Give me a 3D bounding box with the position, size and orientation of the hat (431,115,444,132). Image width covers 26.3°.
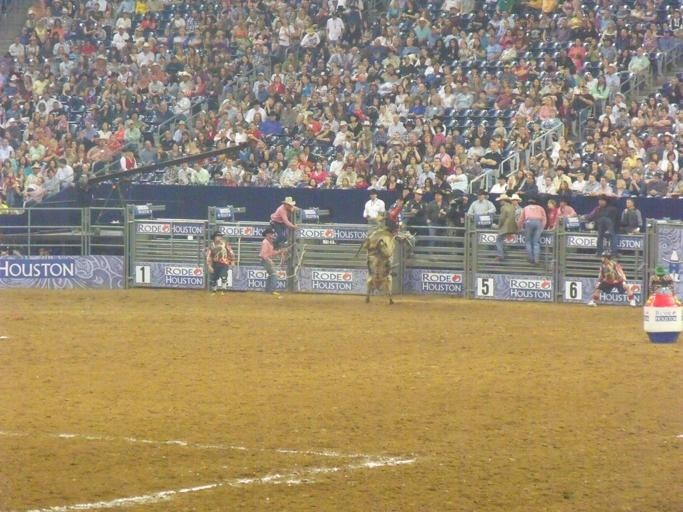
[{"bbox_3d":[3.303,-4.504,50.305,0.407,0.461,0.538,-8,1,4],"label":"hat"}]

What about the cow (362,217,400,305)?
[{"bbox_3d":[1.198,0.113,44.551,0.988,2.737,0.672,-2,-3,41],"label":"cow"}]

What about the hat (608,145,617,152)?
[{"bbox_3d":[8.746,-3.488,47.064,0.294,0.272,0.331,-1,-2,15],"label":"hat"}]

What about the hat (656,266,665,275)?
[{"bbox_3d":[8.261,0.381,37.874,0.195,0.181,0.215,2,-5,-9],"label":"hat"}]

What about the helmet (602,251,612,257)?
[{"bbox_3d":[8.026,-0.016,44.252,0.219,0.174,0.174,25,33,26],"label":"helmet"}]

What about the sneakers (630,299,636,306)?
[{"bbox_3d":[8.933,1.471,44.719,0.241,0.262,0.173,5,-5,-43],"label":"sneakers"}]

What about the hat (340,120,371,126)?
[{"bbox_3d":[0.454,-4.723,51.942,0.502,0.231,0.505,1,4,35],"label":"hat"}]

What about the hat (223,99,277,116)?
[{"bbox_3d":[-3.638,-5.516,54.454,0.889,0.430,1.130,2,-3,-23],"label":"hat"}]

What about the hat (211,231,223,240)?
[{"bbox_3d":[-3.941,-0.588,46.406,0.330,0.306,0.243,1,13,-18],"label":"hat"}]

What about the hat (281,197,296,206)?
[{"bbox_3d":[-1.740,-1.757,47.367,0.295,0.148,0.359,-7,12,-35],"label":"hat"}]

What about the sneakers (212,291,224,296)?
[{"bbox_3d":[-3.971,1.196,46.911,0.305,0.141,0.425,-15,-8,26],"label":"sneakers"}]
